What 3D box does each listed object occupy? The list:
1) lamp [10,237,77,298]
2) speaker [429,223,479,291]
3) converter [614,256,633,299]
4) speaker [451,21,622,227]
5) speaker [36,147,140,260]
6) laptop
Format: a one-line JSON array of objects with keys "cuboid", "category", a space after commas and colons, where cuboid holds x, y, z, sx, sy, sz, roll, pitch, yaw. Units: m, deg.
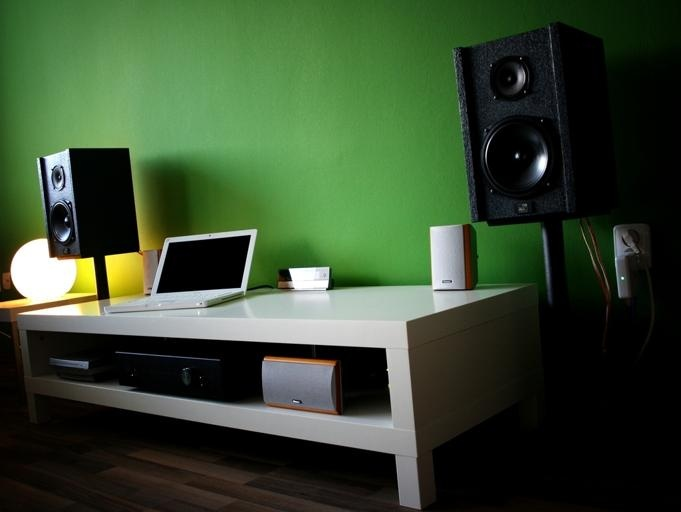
[{"cuboid": [-1.559, 0.038, 2.963, 0.311, 0.373, 0.317, 1, 12, 21], "category": "lamp"}, {"cuboid": [0.368, 0.008, 1.747, 0.133, 0.241, 0.223, -3, 3, 31], "category": "speaker"}, {"cuboid": [0.902, 0.074, 1.716, 0.045, 0.147, 0.068, -1, 7, 28], "category": "converter"}, {"cuboid": [0.609, -0.399, 1.687, 0.456, 0.522, 0.466, -12, 10, -14], "category": "speaker"}, {"cuboid": [-1.243, -0.244, 2.679, 0.429, 0.483, 0.442, -4, 5, 7], "category": "speaker"}, {"cuboid": [-0.577, 0.040, 1.977, 0.453, 0.274, 0.411, -5, -2, 18], "category": "laptop"}]
